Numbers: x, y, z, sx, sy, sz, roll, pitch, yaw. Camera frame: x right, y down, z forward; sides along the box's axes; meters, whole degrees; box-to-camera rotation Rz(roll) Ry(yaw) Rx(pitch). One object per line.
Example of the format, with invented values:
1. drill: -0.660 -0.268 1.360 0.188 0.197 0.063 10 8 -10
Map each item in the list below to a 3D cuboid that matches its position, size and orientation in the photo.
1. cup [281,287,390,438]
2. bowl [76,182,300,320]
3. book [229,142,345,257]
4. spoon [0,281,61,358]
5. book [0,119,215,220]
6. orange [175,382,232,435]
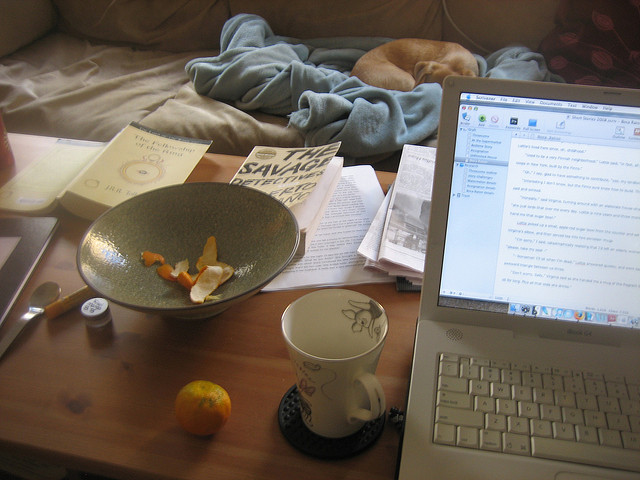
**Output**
1. cup: 0.019 0.136 0.646 0.117 0.132 0.174 -11 40 -10
2. bowl: -0.181 0.013 0.724 0.291 0.080 0.237 -16 56 -14
3. book: -0.039 -0.097 0.917 0.167 0.072 0.234 7 39 14
4. spoon: -0.394 0.103 0.735 0.029 0.018 0.138 19 49 13
5. book: -0.400 -0.175 0.893 0.310 0.036 0.222 9 43 11
6. orange: -0.142 0.200 0.613 0.069 0.055 0.066 6 10 -19
